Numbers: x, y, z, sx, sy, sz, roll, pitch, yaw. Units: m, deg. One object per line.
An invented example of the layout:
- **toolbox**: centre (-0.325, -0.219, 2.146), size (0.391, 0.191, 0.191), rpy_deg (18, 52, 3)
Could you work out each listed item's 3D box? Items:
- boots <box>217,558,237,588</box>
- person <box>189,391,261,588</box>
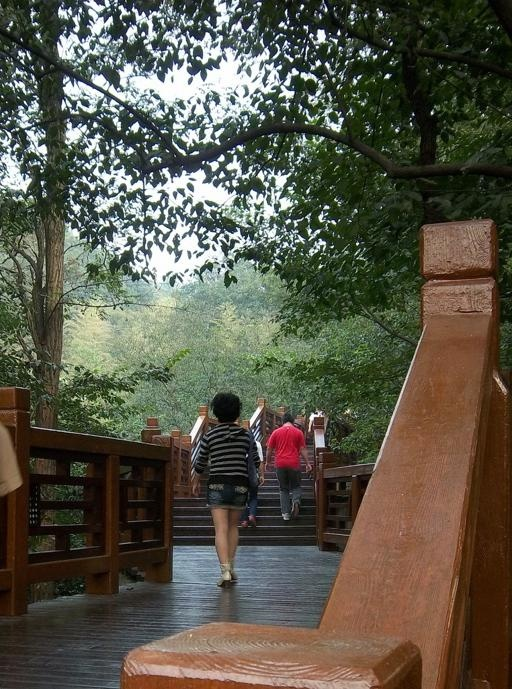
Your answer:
- **boots**: centre (-0.288, 2.264, 5.300), size (0.136, 0.235, 0.372), rpy_deg (0, 2, -2)
- **person**: centre (-0.275, 1.451, 5.163), size (0.651, 1.949, 0.388), rpy_deg (-2, 1, -17)
